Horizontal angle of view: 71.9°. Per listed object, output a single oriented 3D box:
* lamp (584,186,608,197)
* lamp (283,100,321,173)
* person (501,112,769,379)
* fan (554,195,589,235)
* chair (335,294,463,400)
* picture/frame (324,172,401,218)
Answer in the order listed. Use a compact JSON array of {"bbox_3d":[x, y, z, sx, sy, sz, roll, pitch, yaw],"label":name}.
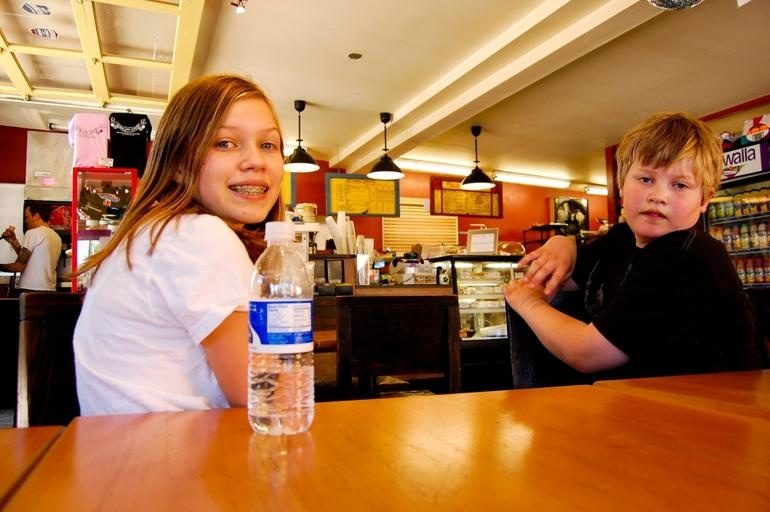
[{"bbox_3d":[4.797,-1.487,12.115,0.517,0.112,0.489,3,-2,-42],"label":"lamp"},{"bbox_3d":[-1.175,-1.569,7.555,0.404,0.868,1.878,0,1,-8],"label":"lamp"},{"bbox_3d":[1.005,-0.008,2.336,1.086,1.416,0.814,2,-3,-2],"label":"person"},{"bbox_3d":[4.103,-0.851,11.880,1.072,0.896,0.420,3,-6,-24],"label":"fan"},{"bbox_3d":[0.060,0.390,2.611,0.714,0.616,0.493,0,-8,-5],"label":"chair"},{"bbox_3d":[-0.359,-0.970,8.396,1.080,0.551,0.068,0,-5,-15],"label":"picture/frame"}]
